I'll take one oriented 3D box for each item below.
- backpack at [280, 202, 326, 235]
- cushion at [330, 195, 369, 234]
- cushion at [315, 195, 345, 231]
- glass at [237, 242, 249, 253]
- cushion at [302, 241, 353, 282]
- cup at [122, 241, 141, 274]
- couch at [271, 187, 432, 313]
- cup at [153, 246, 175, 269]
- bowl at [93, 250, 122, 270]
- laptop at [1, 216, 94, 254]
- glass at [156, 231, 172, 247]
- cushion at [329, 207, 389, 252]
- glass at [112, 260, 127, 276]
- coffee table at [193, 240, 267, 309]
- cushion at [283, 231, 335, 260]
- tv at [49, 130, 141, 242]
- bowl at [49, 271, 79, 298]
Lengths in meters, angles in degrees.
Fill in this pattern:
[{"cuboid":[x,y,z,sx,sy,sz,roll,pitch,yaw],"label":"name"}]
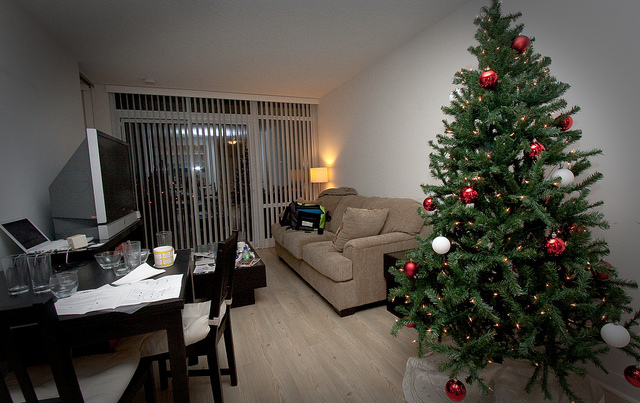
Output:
[{"cuboid":[-0.246,0.201,6.358,0.865,0.299,0.745,-2,15,-19],"label":"backpack"},{"cuboid":[0.345,0.105,5.946,0.247,0.535,0.541,9,-2,-19],"label":"cushion"},{"cuboid":[0.178,0.167,6.349,0.181,0.488,0.373,14,-6,-30],"label":"cushion"},{"cuboid":[-0.987,0.568,5.135,0.149,0.144,0.095,5,-7,-31],"label":"glass"},{"cuboid":[0.083,0.700,4.859,0.296,0.256,0.862,-1,8,-21],"label":"cushion"},{"cuboid":[-1.595,0.463,3.497,0.144,0.212,0.134,-7,2,0],"label":"cup"},{"cuboid":[0.289,0.484,5.639,1.333,1.238,2.493,-1,8,-23],"label":"couch"},{"cuboid":[-1.309,0.465,3.454,0.140,0.135,0.176,7,12,39],"label":"cup"},{"cuboid":[-1.734,0.491,3.370,0.179,0.106,0.187,2,9,0],"label":"bowl"},{"cuboid":[-2.729,0.324,3.947,0.408,0.251,0.416,-4,12,-15],"label":"laptop"},{"cuboid":[-1.469,0.351,3.880,0.117,0.132,0.112,-3,9,-33],"label":"glass"},{"cuboid":[0.534,0.385,5.060,0.763,0.657,0.408,-6,6,-33],"label":"cushion"},{"cuboid":[-1.621,0.543,3.326,0.105,0.084,0.109,6,15,17],"label":"glass"},{"cuboid":[-1.024,0.910,4.697,0.790,0.693,0.867,0,8,-16],"label":"coffee table"},{"cuboid":[-0.170,0.530,5.577,0.406,0.175,0.435,-5,12,-24],"label":"cushion"},{"cuboid":[-2.460,-0.143,4.426,0.742,1.270,1.372,0,6,-3],"label":"tv"},{"cuboid":[-1.946,0.659,3.143,0.209,0.202,0.242,-10,0,-22],"label":"bowl"}]
